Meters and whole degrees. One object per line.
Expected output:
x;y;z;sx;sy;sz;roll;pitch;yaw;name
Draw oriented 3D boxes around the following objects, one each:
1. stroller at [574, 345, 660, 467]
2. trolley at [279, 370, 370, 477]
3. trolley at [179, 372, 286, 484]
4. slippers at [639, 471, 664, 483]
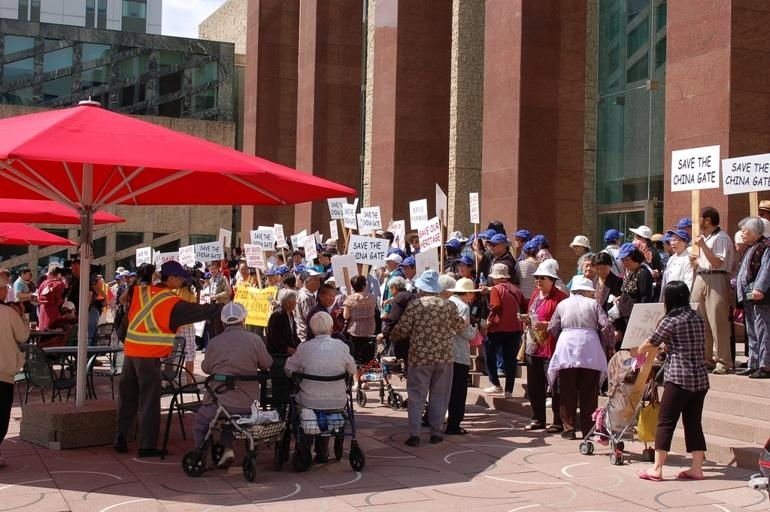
4.021;2.440;16.696;1.280;1.923;1.129;-1;3;17;stroller
-1.095;2.686;16.318;1.368;1.585;0.766;-3;3;-7;trolley
-2.440;2.708;16.051;1.463;1.609;1.002;-2;3;10;trolley
4.226;3.496;15.769;0.267;0.079;0.152;10;3;43;slippers
